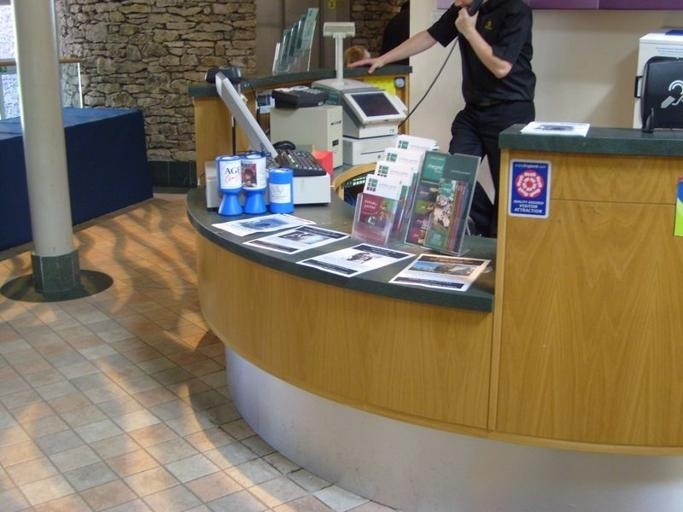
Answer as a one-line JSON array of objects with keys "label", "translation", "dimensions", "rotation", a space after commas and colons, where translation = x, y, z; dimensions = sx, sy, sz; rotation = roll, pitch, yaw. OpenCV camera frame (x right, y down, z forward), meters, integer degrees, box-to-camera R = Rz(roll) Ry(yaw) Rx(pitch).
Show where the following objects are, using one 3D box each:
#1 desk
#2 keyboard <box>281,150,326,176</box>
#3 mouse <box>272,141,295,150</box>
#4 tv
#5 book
[{"label": "desk", "translation": [-2.565, -0.724, 5.535], "dimensions": [0.803, 0.949, 1.563], "rotation": [7, 17, 31]}, {"label": "keyboard", "translation": [-0.220, -0.487, 3.028], "dimensions": [0.250, 0.089, 0.366], "rotation": [-2, 18, -6]}, {"label": "mouse", "translation": [-0.332, -0.639, 3.352], "dimensions": [0.089, 0.033, 0.077], "rotation": [-6, 16, -29]}, {"label": "tv", "translation": [-0.507, -0.758, 3.088], "dimensions": [0.145, 0.437, 0.467], "rotation": [-13, 22, -33]}, {"label": "book", "translation": [0.195, -0.247, 2.434], "dimensions": [0.258, 0.387, 0.147], "rotation": [15, 24, 38]}]
